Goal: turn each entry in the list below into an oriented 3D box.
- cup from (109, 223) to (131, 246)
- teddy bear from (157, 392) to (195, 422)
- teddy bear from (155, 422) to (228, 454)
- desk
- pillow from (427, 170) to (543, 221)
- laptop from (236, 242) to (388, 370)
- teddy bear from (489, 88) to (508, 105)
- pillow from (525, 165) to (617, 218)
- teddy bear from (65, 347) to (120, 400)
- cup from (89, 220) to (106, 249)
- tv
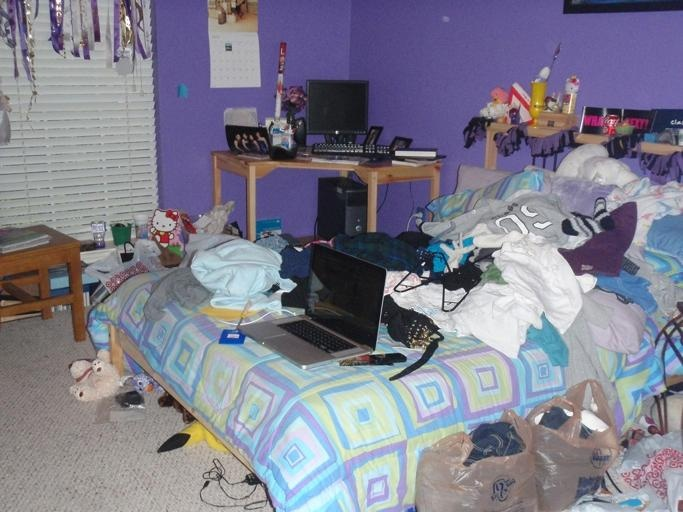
[{"bbox_3d":[-1.652,-0.168,4.105,0.164,0.147,0.156,3,9,0],"label":"cup"},{"bbox_3d":[-0.887,0.808,2.899,0.051,0.191,0.191,-40,20,17],"label":"teddy bear"},{"bbox_3d":[-0.733,0.895,2.643,0.309,0.096,0.183,-20,-1,-10],"label":"teddy bear"},{"bbox_3d":[-0.267,-0.655,4.157,1.088,0.721,1.085,-10,19,-35],"label":"desk"},{"bbox_3d":[0.868,-0.481,3.709,0.771,0.294,0.987,-9,9,1],"label":"pillow"},{"bbox_3d":[-0.138,0.197,2.325,0.426,0.368,0.553,-6,14,-39],"label":"laptop"},{"bbox_3d":[1.115,-1.126,3.776,0.066,0.104,0.123,-13,22,-33],"label":"teddy bear"},{"bbox_3d":[1.300,-0.365,2.994,0.210,0.088,0.327,-9,25,-20],"label":"pillow"},{"bbox_3d":[-1.378,0.678,2.975,0.273,0.141,0.272,19,49,5],"label":"teddy bear"},{"bbox_3d":[-1.853,-0.168,4.127,0.088,0.204,0.139,-9,21,-26],"label":"cup"},{"bbox_3d":[-0.031,-1.230,4.519,0.575,0.610,0.199,-1,15,-9],"label":"tv"}]
